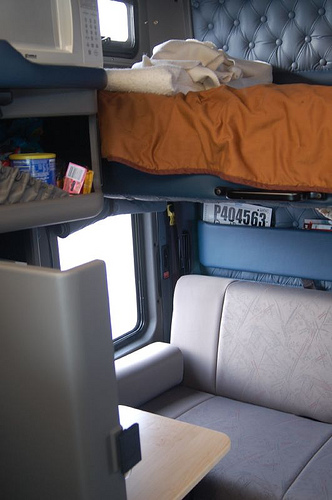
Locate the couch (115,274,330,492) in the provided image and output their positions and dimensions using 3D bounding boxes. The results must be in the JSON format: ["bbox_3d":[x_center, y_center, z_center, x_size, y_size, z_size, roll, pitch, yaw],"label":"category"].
[{"bbox_3d":[0.336,0.283,2.064,1.388,1.011,0.772,3,2,37],"label":"couch"}]
